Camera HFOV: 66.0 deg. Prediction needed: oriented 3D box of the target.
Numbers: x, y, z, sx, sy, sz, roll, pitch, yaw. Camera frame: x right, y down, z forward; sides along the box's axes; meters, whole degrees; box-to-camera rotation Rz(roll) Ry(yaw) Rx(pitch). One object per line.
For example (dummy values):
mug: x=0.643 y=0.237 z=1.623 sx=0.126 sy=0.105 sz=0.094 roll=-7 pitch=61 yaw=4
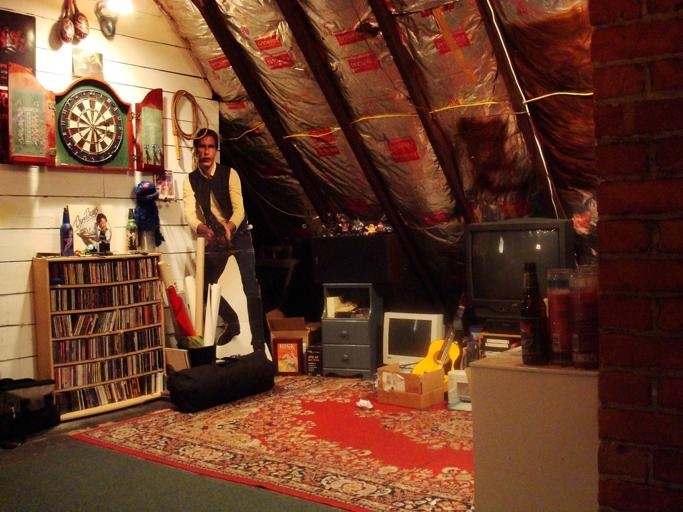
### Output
target: x=-2.074 y=-1.096 z=4.421 sx=0.040 sy=0.665 sz=0.523 roll=-3 pitch=-3 yaw=42

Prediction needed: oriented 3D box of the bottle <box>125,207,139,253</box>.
bottle: x=-1.798 y=-0.238 z=4.599 sx=0.087 sy=0.391 sz=0.149 roll=0 pitch=-3 yaw=-22

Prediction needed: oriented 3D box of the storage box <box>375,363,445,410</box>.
storage box: x=0.574 y=0.978 z=4.178 sx=0.442 sy=0.300 sz=0.422 roll=4 pitch=6 yaw=33

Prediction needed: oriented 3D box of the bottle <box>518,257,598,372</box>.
bottle: x=0.684 y=0.173 z=1.660 sx=0.162 sy=0.323 sz=0.205 roll=4 pitch=3 yaw=29

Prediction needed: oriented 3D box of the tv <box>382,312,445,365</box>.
tv: x=0.680 y=0.725 z=4.857 sx=0.555 sy=0.477 sz=0.271 roll=5 pitch=6 yaw=44

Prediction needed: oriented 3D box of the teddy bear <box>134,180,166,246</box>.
teddy bear: x=-1.655 y=-0.386 z=4.639 sx=0.160 sy=0.593 sz=0.210 roll=9 pitch=8 yaw=42

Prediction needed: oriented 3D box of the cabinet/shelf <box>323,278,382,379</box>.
cabinet/shelf: x=0.165 y=0.685 z=5.169 sx=0.510 sy=0.942 sz=0.511 roll=2 pitch=5 yaw=26

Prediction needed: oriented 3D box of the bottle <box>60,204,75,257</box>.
bottle: x=-2.173 y=-0.207 z=4.226 sx=0.095 sy=0.410 sz=0.147 roll=1 pitch=-3 yaw=-30

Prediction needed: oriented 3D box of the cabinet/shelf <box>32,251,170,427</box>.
cabinet/shelf: x=-1.908 y=0.668 z=4.139 sx=0.563 sy=1.594 sz=1.243 roll=-2 pitch=0 yaw=45

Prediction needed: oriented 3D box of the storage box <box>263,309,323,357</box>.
storage box: x=-0.491 y=0.764 z=5.412 sx=0.467 sy=0.407 sz=0.314 roll=-4 pitch=6 yaw=-18
